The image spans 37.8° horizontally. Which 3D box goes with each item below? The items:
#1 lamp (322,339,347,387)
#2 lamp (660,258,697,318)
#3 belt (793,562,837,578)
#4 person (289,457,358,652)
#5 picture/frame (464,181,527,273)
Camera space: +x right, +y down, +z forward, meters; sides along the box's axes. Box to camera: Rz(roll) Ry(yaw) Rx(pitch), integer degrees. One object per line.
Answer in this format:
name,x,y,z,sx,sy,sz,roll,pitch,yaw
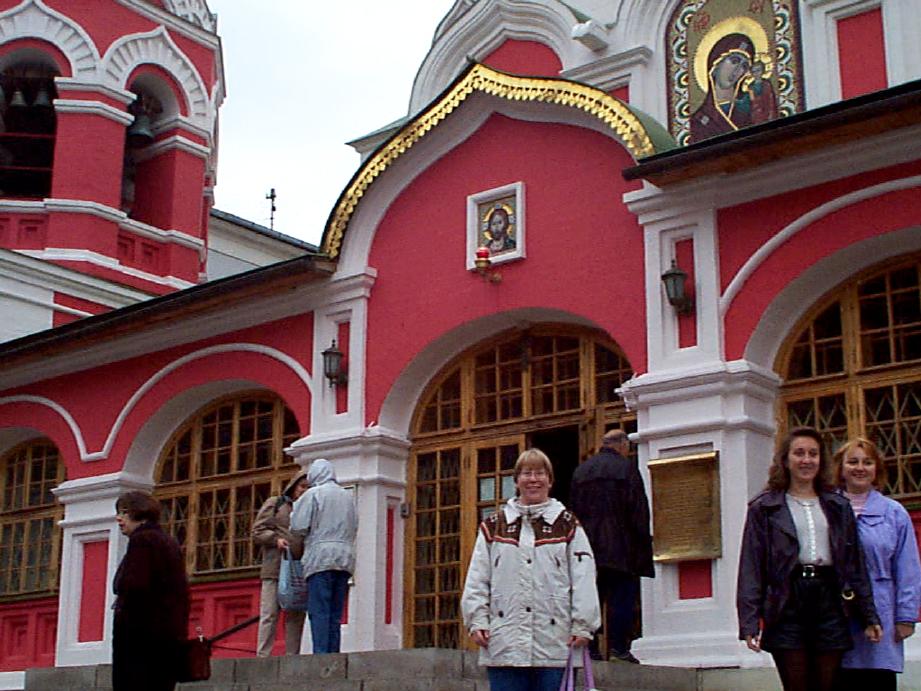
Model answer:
lamp,-1.418,0.245,15.192,0.252,0.391,0.294,-8,-20,16
lamp,2.050,-0.579,13.033,0.301,0.566,0.250,-5,-29,10
belt,2.284,1.451,8.690,0.256,0.102,0.021,-4,-19,5
person,-1.235,1.907,12.154,0.586,1.760,0.643,0,-19,-7
picture/frame,0.401,-1.240,14.465,0.837,0.984,0.098,-12,-24,34
